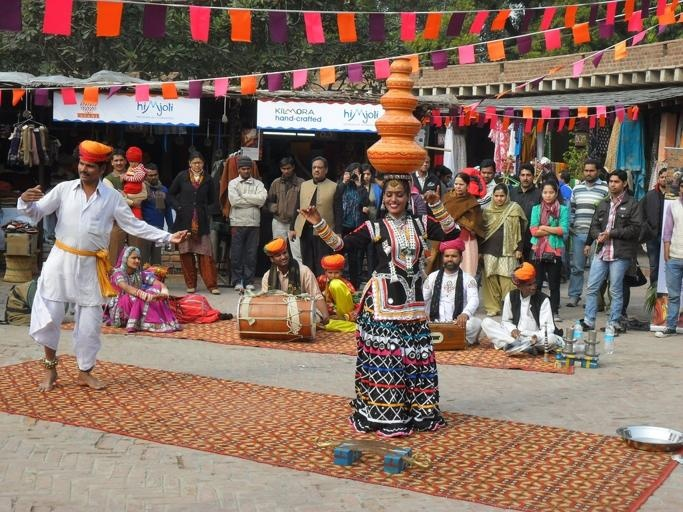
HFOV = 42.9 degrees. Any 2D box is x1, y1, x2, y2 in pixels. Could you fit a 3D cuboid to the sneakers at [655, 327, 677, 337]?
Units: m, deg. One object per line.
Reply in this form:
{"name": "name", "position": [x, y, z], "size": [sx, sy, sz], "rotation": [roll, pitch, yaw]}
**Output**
{"name": "sneakers", "position": [4.052, 0.951, 10.869], "size": [0.329, 0.115, 0.102], "rotation": [3, -1, -8]}

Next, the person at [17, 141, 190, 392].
{"name": "person", "position": [-2.348, 0.067, 7.965], "size": [1.105, 2.264, 0.531], "rotation": [0, 11, -13]}

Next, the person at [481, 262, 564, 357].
{"name": "person", "position": [2.033, 0.605, 9.787], "size": [1.013, 0.904, 0.764], "rotation": [-1, 7, 31]}

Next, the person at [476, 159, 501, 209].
{"name": "person", "position": [2.210, -1.048, 12.430], "size": [0.315, 0.662, 0.602], "rotation": [4, 3, -13]}

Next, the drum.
{"name": "drum", "position": [-0.747, 0.690, 10.013], "size": [0.805, 0.562, 0.534], "rotation": [3, 34, 2]}

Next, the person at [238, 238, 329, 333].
{"name": "person", "position": [-0.731, 0.490, 10.635], "size": [1.111, 1.229, 0.742], "rotation": [-9, 6, 0]}

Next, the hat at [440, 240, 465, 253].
{"name": "hat", "position": [1.315, -0.135, 10.205], "size": [0.243, 0.105, 0.257], "rotation": [0, -2, 23]}

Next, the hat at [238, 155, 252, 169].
{"name": "hat", "position": [-1.413, -1.428, 12.904], "size": [0.157, 0.153, 0.202], "rotation": [12, 5, -32]}

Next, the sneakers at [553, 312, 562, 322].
{"name": "sneakers", "position": [2.798, 0.789, 11.207], "size": [0.098, 0.144, 0.254], "rotation": [0, -3, -5]}

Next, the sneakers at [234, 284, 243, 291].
{"name": "sneakers", "position": [-1.504, 0.455, 12.876], "size": [0.174, 0.077, 0.175], "rotation": [0, 4, 1]}

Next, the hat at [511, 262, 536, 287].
{"name": "hat", "position": [2.026, 0.195, 9.716], "size": [0.293, 0.211, 0.220], "rotation": [16, 26, 36]}

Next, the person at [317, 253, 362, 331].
{"name": "person", "position": [-0.131, 0.469, 11.041], "size": [0.822, 0.812, 0.802], "rotation": [-7, 18, -10]}

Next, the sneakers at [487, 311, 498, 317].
{"name": "sneakers", "position": [2.037, 0.769, 11.703], "size": [0.079, 0.077, 0.200], "rotation": [1, -4, -1]}

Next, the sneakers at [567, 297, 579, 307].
{"name": "sneakers", "position": [3.429, 0.682, 12.854], "size": [0.104, 0.102, 0.285], "rotation": [-3, -6, 21]}

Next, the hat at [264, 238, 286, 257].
{"name": "hat", "position": [-0.823, -0.104, 10.470], "size": [0.200, 0.109, 0.246], "rotation": [-32, 9, -36]}

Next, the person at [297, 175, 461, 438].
{"name": "person", "position": [0.332, 0.371, 7.324], "size": [1.165, 2.136, 0.824], "rotation": [2, 11, -2]}

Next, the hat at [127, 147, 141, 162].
{"name": "hat", "position": [-3.015, -1.479, 12.502], "size": [0.208, 0.195, 0.246], "rotation": [1, -8, 5]}

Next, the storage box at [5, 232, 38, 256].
{"name": "storage box", "position": [-4.844, -0.195, 13.289], "size": [0.404, 0.203, 0.351], "rotation": [1, 3, 7]}

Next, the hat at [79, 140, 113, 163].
{"name": "hat", "position": [-2.279, -0.965, 7.928], "size": [0.250, 0.150, 0.297], "rotation": [-2, 21, -28]}
